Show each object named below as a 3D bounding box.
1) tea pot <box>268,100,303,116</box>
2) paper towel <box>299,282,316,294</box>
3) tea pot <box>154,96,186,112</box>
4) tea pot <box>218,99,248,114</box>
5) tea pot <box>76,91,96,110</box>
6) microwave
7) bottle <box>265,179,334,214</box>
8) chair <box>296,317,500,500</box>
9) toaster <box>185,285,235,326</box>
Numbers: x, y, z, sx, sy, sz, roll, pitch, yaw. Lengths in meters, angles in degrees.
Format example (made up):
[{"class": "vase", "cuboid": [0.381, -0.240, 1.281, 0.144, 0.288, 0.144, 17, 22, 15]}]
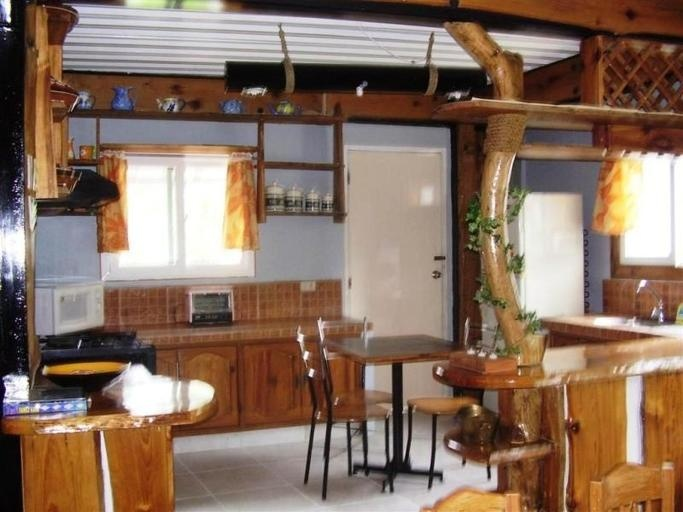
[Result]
[{"class": "tea pot", "cuboid": [-0.480, -1.224, 5.907, 0.241, 0.092, 0.169, 4, 7, 25]}, {"class": "paper towel", "cuboid": [-0.293, 0.281, 6.318, 0.161, 0.105, 0.089, 1, -4, -18]}, {"class": "tea pot", "cuboid": [-1.379, -1.221, 5.720, 0.215, 0.134, 0.226, -1, 7, 0]}, {"class": "tea pot", "cuboid": [-0.898, -1.235, 5.855, 0.205, 0.143, 0.290, -2, 7, -9]}, {"class": "tea pot", "cuboid": [-2.009, -1.228, 5.573, 0.124, 0.155, 0.246, -3, 7, -13]}, {"class": "microwave", "cuboid": [-1.967, 0.375, 5.063, 0.275, 0.276, 0.486, -2, 0, 23]}, {"class": "bottle", "cuboid": [-0.352, -0.495, 6.009, 0.577, 0.278, 0.190, -2, 7, -4]}, {"class": "chair", "cuboid": [0.211, 0.979, 5.220, 1.056, 1.194, 1.327, -2, 7, -9]}, {"class": "toaster", "cuboid": [-1.048, 0.401, 5.856, 0.376, 0.308, 0.184, -2, -1, 8]}]
